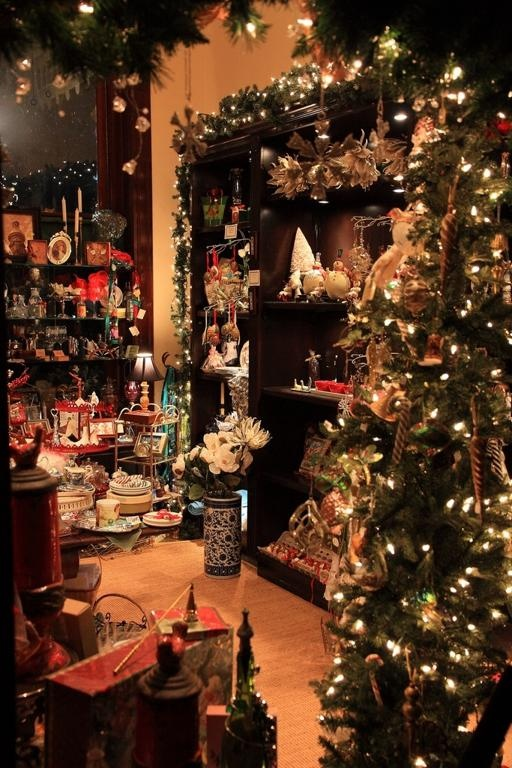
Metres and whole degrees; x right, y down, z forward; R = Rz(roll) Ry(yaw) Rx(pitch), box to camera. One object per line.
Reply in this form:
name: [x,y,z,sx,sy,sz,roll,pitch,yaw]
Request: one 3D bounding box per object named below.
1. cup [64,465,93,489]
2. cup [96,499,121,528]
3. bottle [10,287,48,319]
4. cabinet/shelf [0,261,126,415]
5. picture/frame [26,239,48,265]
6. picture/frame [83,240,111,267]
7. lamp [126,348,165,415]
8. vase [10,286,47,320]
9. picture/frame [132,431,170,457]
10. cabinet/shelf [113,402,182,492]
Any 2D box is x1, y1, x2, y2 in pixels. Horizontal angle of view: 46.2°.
cup: [-0.780,0.408,2.644,0.129,0.089,0.089,3,-2,-11]
cup: [-0.606,0.519,2.426,0.104,0.101,0.083,1,4,-20]
bottle: [-1.693,-0.583,4.398,0.282,0.247,0.154,4,-3,-27]
cabinet/shelf: [-1.388,-0.366,4.303,0.324,1.045,1.136,-2,-8,41]
picture/frame: [-1.632,-0.976,4.457,0.197,0.272,0.027,-1,5,-26]
picture/frame: [-1.244,-1.018,4.742,0.180,0.193,0.130,3,2,-17]
lamp: [-0.856,-0.008,4.654,0.252,0.428,0.254,1,3,31]
vase: [-1.689,-0.587,4.418,0.279,0.270,0.163,-3,8,-32]
picture/frame: [-0.705,0.404,4.037,0.226,0.203,0.084,10,-25,2]
cabinet/shelf: [-0.711,0.473,4.054,0.380,0.582,0.356,-2,3,-41]
